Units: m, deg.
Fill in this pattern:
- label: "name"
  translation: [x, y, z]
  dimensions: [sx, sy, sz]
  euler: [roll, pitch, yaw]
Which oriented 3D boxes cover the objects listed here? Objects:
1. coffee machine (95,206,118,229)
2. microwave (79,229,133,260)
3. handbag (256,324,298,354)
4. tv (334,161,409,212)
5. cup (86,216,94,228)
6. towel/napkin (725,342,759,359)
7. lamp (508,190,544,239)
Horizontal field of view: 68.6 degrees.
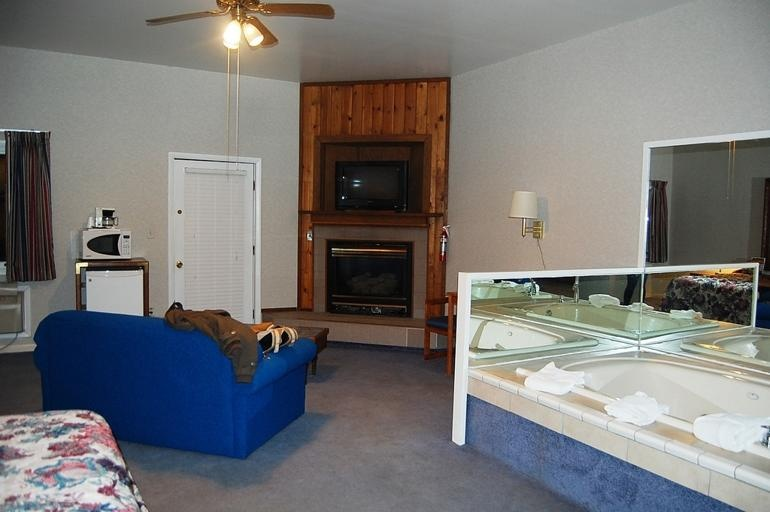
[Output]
- label: "coffee machine"
  translation: [-3.298, -0.446, 6.662]
  dimensions: [0.288, 0.263, 0.247]
  euler: [1, 4, 7]
- label: "microwave"
  translation: [-3.201, -0.138, 6.514]
  dimensions: [0.537, 0.326, 0.373]
  euler: [0, -1, -34]
- label: "handbag"
  translation: [-0.890, 0.662, 4.500]
  dimensions: [0.196, 0.113, 0.256]
  euler: [0, 2, 34]
- label: "tv"
  translation: [-0.150, -0.896, 7.458]
  dimensions: [1.204, 0.772, 0.632]
  euler: [0, 0, 9]
- label: "cup"
  translation: [-3.518, -0.405, 6.746]
  dimensions: [0.094, 0.123, 0.381]
  euler: [-6, 14, -28]
- label: "towel/napkin"
  translation: [2.972, 0.785, 4.705]
  dimensions: [0.242, 0.053, 0.167]
  euler: [0, 5, 7]
- label: "lamp"
  translation: [1.555, -0.433, 6.120]
  dimensions: [0.357, 0.564, 0.665]
  euler: [4, 13, 15]
